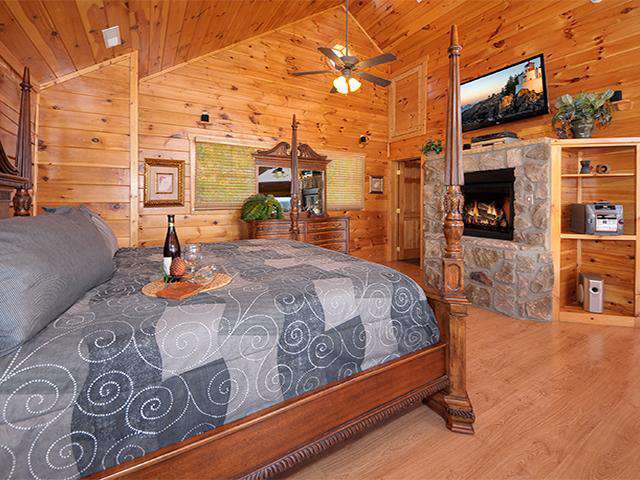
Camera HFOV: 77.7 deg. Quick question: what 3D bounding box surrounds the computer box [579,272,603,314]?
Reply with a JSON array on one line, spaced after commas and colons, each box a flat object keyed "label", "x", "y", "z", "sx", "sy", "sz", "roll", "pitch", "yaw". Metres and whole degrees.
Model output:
[{"label": "computer box", "x": 2.946, "y": 0.562, "z": 4.324, "sx": 0.237, "sy": 0.315, "sz": 0.375, "roll": 0, "pitch": 8, "yaw": 26}]

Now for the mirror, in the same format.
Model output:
[{"label": "mirror", "x": -0.500, "y": -0.951, "z": 6.144, "sx": 1.718, "sy": 1.208, "sz": 0.211, "roll": -2, "pitch": 4, "yaw": -34}]

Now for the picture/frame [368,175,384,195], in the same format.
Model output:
[{"label": "picture/frame", "x": 1.051, "y": -1.034, "z": 7.391, "sx": 0.370, "sy": 0.286, "sz": 0.134, "roll": 1, "pitch": -1, "yaw": -25}]

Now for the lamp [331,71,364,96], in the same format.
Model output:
[{"label": "lamp", "x": 0.330, "y": -1.806, "z": 4.602, "sx": 0.316, "sy": 0.128, "sz": 0.300, "roll": 21, "pitch": -32, "yaw": -33}]

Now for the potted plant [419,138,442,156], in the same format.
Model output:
[{"label": "potted plant", "x": 1.658, "y": -1.364, "z": 5.879, "sx": 0.424, "sy": 0.201, "sz": 0.371, "roll": 0, "pitch": 8, "yaw": 6}]

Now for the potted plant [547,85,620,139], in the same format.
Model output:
[{"label": "potted plant", "x": 2.857, "y": -1.368, "z": 4.490, "sx": 0.694, "sy": 0.439, "sz": 0.690, "roll": 11, "pitch": 17, "yaw": 39}]

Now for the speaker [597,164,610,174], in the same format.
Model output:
[{"label": "speaker", "x": 3.010, "y": -0.751, "z": 4.269, "sx": 0.145, "sy": 0.110, "sz": 0.139, "roll": -5, "pitch": 8, "yaw": -43}]
